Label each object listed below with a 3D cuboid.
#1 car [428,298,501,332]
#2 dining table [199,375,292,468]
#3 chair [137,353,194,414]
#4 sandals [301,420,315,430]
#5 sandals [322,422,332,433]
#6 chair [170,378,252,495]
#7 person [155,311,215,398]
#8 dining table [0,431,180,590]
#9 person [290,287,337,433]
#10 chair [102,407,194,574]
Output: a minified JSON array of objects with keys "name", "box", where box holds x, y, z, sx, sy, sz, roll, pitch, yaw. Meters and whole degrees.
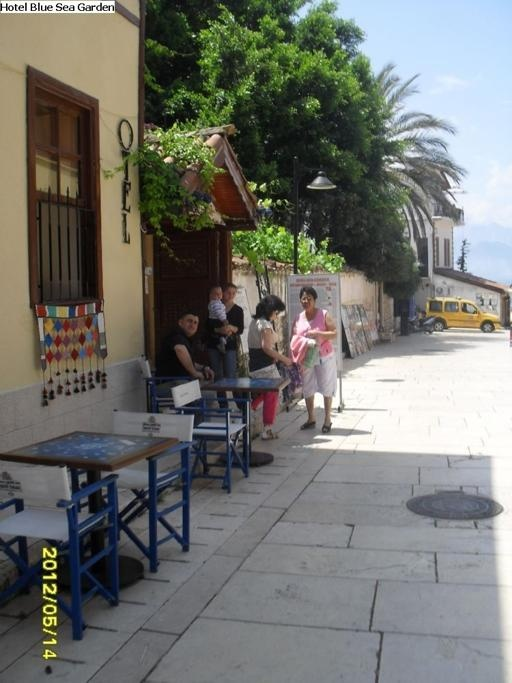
[{"name":"car","box":[10.170,-1.310,35.442,3.187,1.699,1.930,0,3,9]},{"name":"dining table","box":[-0.069,0.744,6.816,0.783,0.816,0.833,0,5,14]},{"name":"chair","box":[-0.961,0.419,7.300,0.564,0.763,0.512,0,2,3]},{"name":"sandals","box":[0.641,1.036,8.858,0.188,0.079,0.075,-2,-2,-21]},{"name":"sandals","box":[0.842,1.022,8.572,0.112,0.093,0.330,-2,-1,13]},{"name":"chair","box":[-0.411,0.783,6.631,0.832,1.259,0.818,-1,2,18]},{"name":"person","box":[-0.723,0.139,7.451,0.533,0.894,0.579,4,-10,9]},{"name":"dining table","box":[-0.832,0.943,3.984,0.800,0.833,0.855,4,11,20]},{"name":"person","box":[0.696,0.221,8.586,0.543,1.724,0.661,-3,4,-2]},{"name":"chair","box":[-0.776,0.896,4.453,0.707,0.776,0.501,0,4,34]}]
